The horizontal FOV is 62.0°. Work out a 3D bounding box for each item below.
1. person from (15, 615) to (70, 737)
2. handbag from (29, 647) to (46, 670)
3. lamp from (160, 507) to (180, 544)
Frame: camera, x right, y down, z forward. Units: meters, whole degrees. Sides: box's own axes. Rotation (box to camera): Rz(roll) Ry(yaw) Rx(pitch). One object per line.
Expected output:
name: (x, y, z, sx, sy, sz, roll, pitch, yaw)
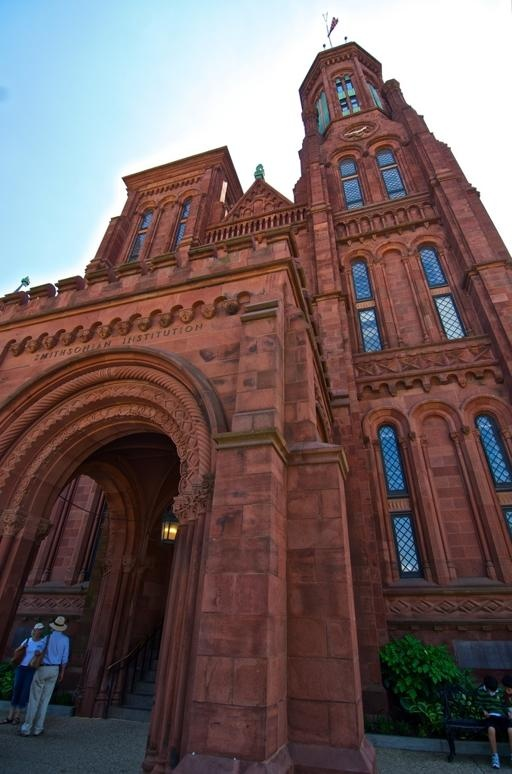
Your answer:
person: (-2.915, 4.092, 6.095, 0.397, 1.405, 0.658, 13, -37, -16)
handbag: (-2.998, 3.787, 5.937, 0.153, 0.210, 0.133, 15, -38, -18)
lamp: (-1.797, 2.896, 9.058, 0.296, 0.789, 0.907, 8, -36, -10)
